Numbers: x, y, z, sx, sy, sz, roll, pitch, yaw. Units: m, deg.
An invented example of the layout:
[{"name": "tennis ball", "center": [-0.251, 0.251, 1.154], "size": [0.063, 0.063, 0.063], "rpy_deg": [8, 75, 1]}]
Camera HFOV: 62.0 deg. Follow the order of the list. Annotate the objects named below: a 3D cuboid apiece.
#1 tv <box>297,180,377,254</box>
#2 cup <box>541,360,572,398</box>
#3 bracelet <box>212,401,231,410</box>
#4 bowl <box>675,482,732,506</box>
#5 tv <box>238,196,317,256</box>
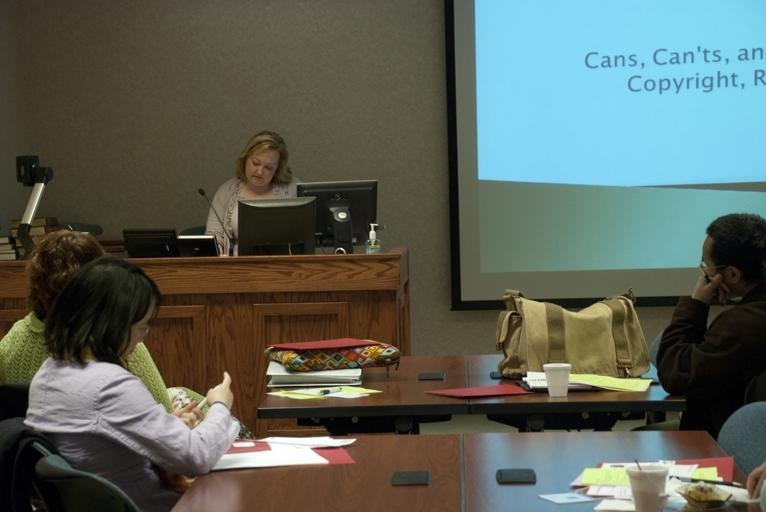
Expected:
[{"name": "tv", "center": [-0.272, -0.236, 4.015], "size": [0.557, 0.407, 0.304], "rpy_deg": [-5, 22, -18]}, {"name": "cup", "center": [0.663, 0.472, 2.474], "size": [0.113, 0.115, 0.117], "rpy_deg": [0, -2, 0]}, {"name": "bracelet", "center": [-0.526, 0.495, 2.087], "size": [0.037, 0.028, 0.037], "rpy_deg": [3, 5, 41]}, {"name": "bowl", "center": [0.821, 0.605, 1.630], "size": [0.074, 0.020, 0.075], "rpy_deg": [2, 0, 0]}, {"name": "tv", "center": [-0.630, -0.165, 3.743], "size": [0.319, 0.273, 0.105], "rpy_deg": [1, 6, -2]}]
